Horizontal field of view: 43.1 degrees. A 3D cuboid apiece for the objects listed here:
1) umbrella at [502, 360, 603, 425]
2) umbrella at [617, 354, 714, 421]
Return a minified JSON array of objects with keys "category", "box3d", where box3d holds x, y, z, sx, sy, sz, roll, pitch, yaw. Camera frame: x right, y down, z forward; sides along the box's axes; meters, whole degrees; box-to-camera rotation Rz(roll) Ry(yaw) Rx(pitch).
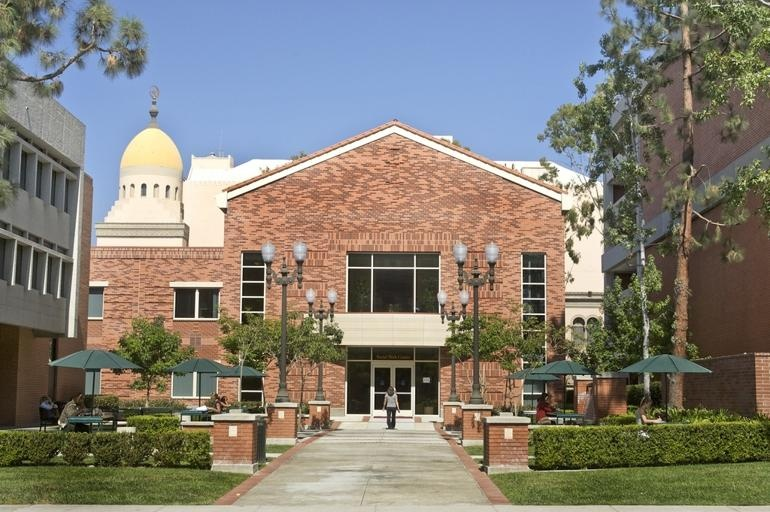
[{"category":"umbrella","box3d":[6.351,6.081,43.221,2.825,3.175,5.444,-1,-7,28]},{"category":"umbrella","box3d":[10.296,3.981,35.539,3.040,2.081,3.231,-1,-7,21]}]
